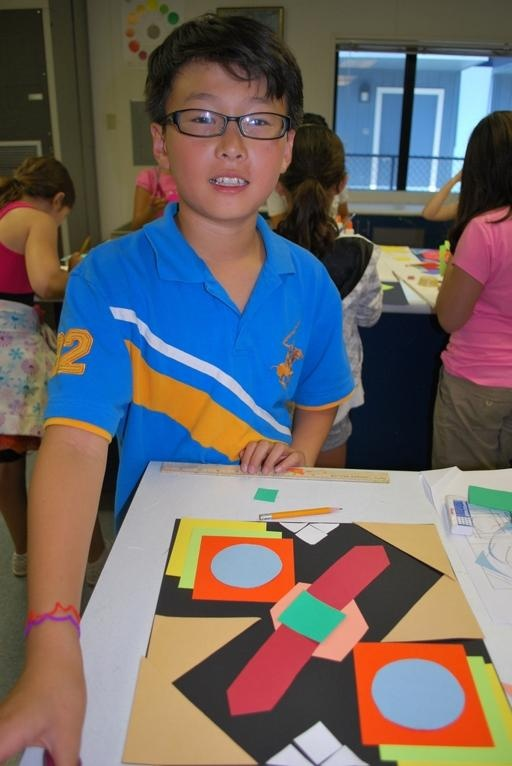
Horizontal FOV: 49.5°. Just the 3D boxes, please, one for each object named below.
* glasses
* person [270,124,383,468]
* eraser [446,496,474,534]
[{"bbox_3d":[-0.032,-0.370,0.798,0.186,0.042,0.070,-4,18,-13],"label":"glasses"},{"bbox_3d":[0.205,-0.260,1.827,0.393,1.046,0.402,4,20,4],"label":"person"},{"bbox_3d":[0.272,0.176,0.741,0.028,0.013,0.057,1,36,3],"label":"eraser"}]
